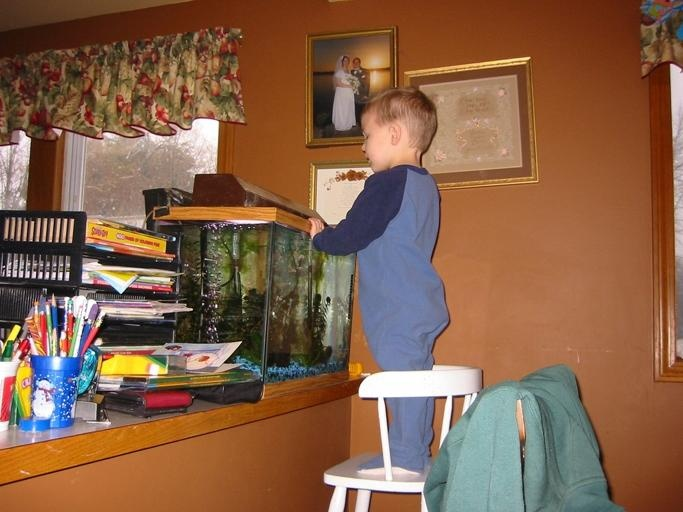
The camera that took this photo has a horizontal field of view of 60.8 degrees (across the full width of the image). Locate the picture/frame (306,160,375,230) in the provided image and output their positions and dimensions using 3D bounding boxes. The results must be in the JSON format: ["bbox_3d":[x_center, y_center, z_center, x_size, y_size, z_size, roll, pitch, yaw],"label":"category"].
[{"bbox_3d":[0.003,-0.263,2.493,0.324,0.311,0.028,3,-7,14],"label":"picture/frame"}]

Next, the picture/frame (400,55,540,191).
[{"bbox_3d":[0.592,-0.565,2.559,0.630,0.707,0.048,-1,-5,13],"label":"picture/frame"}]
